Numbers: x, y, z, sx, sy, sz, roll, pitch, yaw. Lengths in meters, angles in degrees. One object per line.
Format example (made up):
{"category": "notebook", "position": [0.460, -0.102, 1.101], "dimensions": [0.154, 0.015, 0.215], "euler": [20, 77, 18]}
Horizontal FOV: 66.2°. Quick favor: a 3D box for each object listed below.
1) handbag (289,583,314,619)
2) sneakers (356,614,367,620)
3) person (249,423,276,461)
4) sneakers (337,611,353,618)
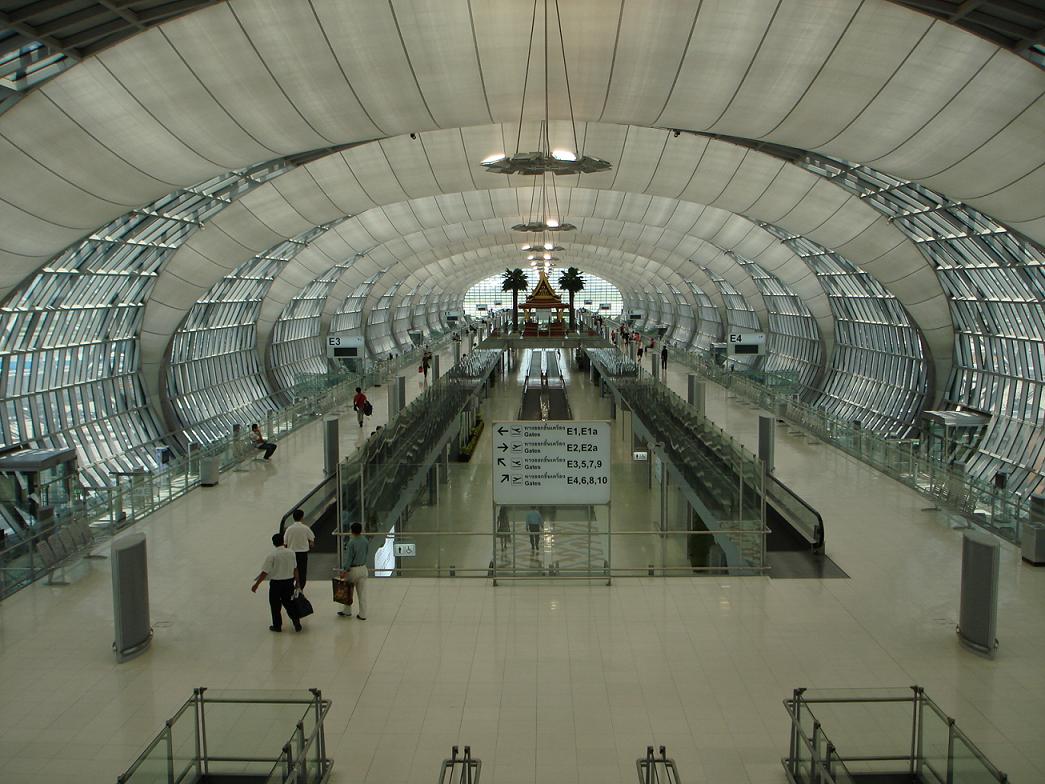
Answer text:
{"category": "handbag", "position": [-3.682, 3.442, 13.104], "dimensions": [0.414, 0.521, 0.141], "euler": [-23, -7, -30]}
{"category": "sneakers", "position": [-2.722, 3.792, 13.507], "dimensions": [0.123, 0.120, 0.168], "euler": [16, -39, -20]}
{"category": "person", "position": [-8.697, 1.721, 26.685], "dimensions": [0.704, 0.512, 1.169], "euler": [-11, -49, -11]}
{"category": "sneakers", "position": [-3.064, 3.796, 13.697], "dimensions": [0.233, 0.150, 0.092], "euler": [12, 1, 9]}
